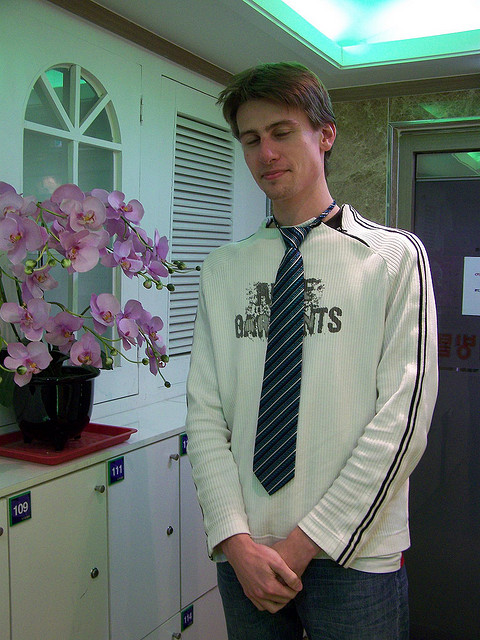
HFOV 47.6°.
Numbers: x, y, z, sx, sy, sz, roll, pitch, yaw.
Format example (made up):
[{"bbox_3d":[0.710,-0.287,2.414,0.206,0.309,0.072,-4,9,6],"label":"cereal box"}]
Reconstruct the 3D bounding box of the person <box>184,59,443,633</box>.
[{"bbox_3d":[0.109,0.055,0.959,0.437,1.010,0.345,0,1,4],"label":"person"}]

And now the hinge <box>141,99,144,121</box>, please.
[{"bbox_3d":[-0.311,-0.671,1.738,0.005,0.066,0.014,1,1,30],"label":"hinge"}]

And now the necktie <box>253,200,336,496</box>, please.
[{"bbox_3d":[0.071,0.082,0.899,0.089,0.387,0.016,3,-13,23],"label":"necktie"}]

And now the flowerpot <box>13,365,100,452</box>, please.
[{"bbox_3d":[-0.441,0.217,1.287,0.206,0.150,0.207,-4,-10,20],"label":"flowerpot"}]
